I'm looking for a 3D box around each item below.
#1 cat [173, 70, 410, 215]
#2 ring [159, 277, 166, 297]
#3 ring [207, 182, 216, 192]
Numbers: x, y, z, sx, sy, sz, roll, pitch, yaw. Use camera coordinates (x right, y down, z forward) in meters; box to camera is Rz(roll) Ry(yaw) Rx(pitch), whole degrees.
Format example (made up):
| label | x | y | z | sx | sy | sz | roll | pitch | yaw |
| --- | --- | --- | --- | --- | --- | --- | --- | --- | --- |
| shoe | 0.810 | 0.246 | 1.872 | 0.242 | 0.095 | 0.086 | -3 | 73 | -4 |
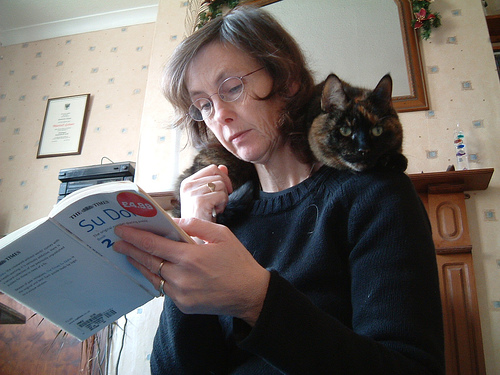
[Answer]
| label | x | y | z | sx | sy | sz | roll | pitch | yaw |
| --- | --- | --- | --- | --- | --- | --- | --- | --- | --- |
| cat | 0.210 | -0.191 | 1.413 | 0.465 | 0.336 | 0.722 | -13 | 13 | -34 |
| ring | -0.203 | 0.229 | 0.877 | 0.015 | 0.041 | 0.031 | 4 | -30 | -6 |
| ring | -0.125 | -0.002 | 1.230 | 0.019 | 0.028 | 0.007 | -4 | -12 | -14 |
